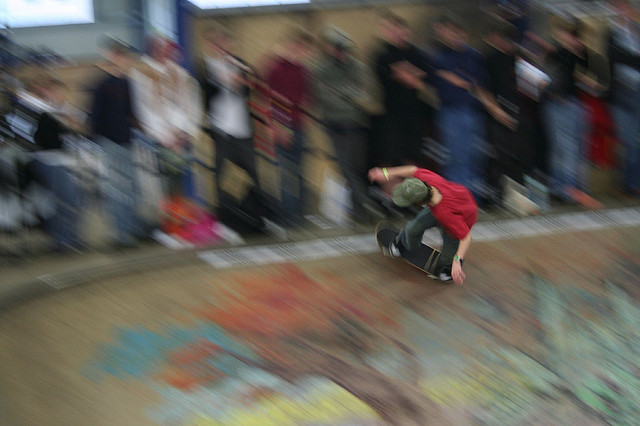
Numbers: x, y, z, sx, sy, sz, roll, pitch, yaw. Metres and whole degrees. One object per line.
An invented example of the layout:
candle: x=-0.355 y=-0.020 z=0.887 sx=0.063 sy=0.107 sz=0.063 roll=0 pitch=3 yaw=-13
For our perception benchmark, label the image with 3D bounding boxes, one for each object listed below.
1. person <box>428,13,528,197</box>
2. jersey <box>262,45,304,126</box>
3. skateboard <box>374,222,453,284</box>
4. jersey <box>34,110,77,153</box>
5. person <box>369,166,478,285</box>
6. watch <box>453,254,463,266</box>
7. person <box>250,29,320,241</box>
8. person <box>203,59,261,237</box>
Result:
person: x=1.752 y=-1.186 z=10.150 sx=0.993 sy=2.031 sz=0.452 roll=6 pitch=31 yaw=11
jersey: x=-0.468 y=-1.421 z=9.831 sx=0.498 sy=0.805 sz=0.334 roll=16 pitch=34 yaw=26
skateboard: x=0.940 y=0.428 z=9.635 sx=0.203 sy=0.407 sz=1.115 roll=-12 pitch=32 yaw=-41
jersey: x=-3.060 y=-0.911 z=9.769 sx=0.534 sy=0.484 sz=0.124 roll=4 pitch=-1 yaw=-14
person: x=1.115 y=0.129 z=9.238 sx=0.944 sy=1.234 sz=1.375 roll=-9 pitch=31 yaw=-14
watch: x=1.442 y=0.493 z=8.912 sx=0.088 sy=0.081 sz=0.058 roll=34 pitch=68 yaw=21
person: x=-0.353 y=-0.823 z=10.115 sx=0.727 sy=2.569 sz=0.340 roll=-9 pitch=33 yaw=-10
person: x=-1.048 y=-0.744 z=9.892 sx=0.547 sy=1.953 sz=0.699 roll=-4 pitch=31 yaw=-6
